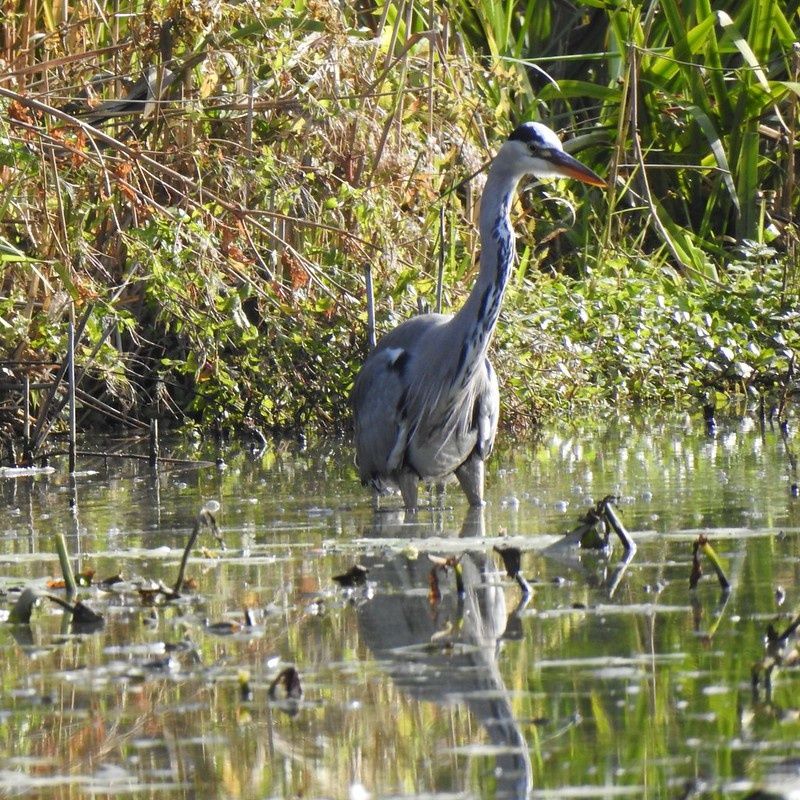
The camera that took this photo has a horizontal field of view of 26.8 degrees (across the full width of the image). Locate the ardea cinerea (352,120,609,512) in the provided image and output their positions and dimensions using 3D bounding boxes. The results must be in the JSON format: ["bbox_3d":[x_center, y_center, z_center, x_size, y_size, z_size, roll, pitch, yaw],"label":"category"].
[{"bbox_3d":[0.218,-0.288,5.964,0.873,1.316,0.474,-1,5,10],"label":"ardea cinerea"}]
